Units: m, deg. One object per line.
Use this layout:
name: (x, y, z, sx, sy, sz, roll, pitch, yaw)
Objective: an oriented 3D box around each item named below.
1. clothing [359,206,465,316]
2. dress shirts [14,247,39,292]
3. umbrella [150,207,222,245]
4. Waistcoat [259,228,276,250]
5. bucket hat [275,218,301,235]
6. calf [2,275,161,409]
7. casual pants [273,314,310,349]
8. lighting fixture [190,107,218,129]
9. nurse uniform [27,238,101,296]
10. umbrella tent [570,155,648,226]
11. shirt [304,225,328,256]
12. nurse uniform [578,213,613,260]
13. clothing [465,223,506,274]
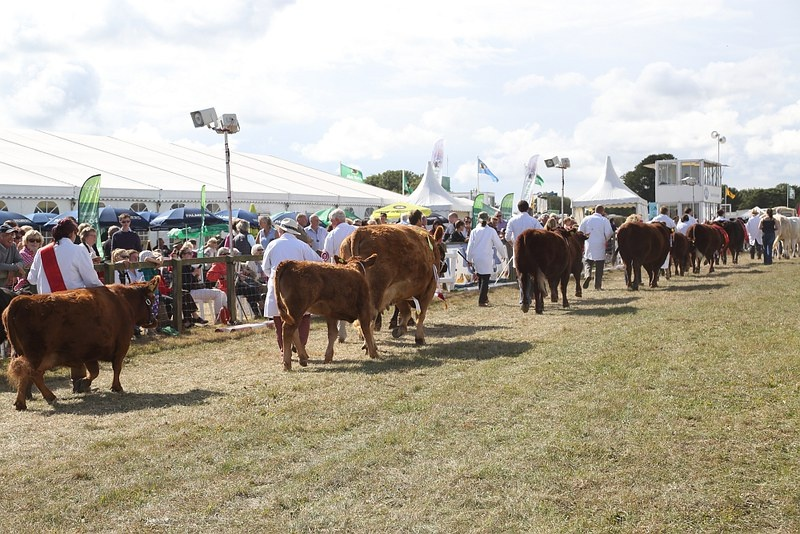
clothing: (-0.086, -0.130, 15.578, 0.787, 1.599, 2.199, 1, -1, 30)
dress shirts: (-5.972, 0.052, 14.891, 0.233, 0.753, 0.532, -3, -1, -11)
umbrella: (-5.541, -1.004, 24.477, 1.281, 0.497, 1.312, -3, -3, -4)
Waistcoat: (-2.458, -0.510, 17.602, 0.444, 0.471, 0.249, 1, 0, 5)
bucket hat: (-1.695, -0.608, 14.810, 0.281, 0.129, 0.325, 20, -4, 8)
calf: (-4.308, 1.054, 12.728, 0.515, 1.065, 1.596, -4, -2, 31)
casual pants: (-1.600, 0.917, 14.259, 0.217, 0.651, 0.919, -4, 1, 19)
lighting fixture: (-3.930, -2.979, 19.077, 0.463, 0.372, 0.882, -3, 5, -12)
nurse uniform: (-4.788, 0.021, 13.340, 0.998, 0.884, 0.518, 2, 20, -6)
umbrella tent: (9.287, -3.533, 41.815, 2.692, 2.313, 2.806, -3, 14, 22)
shirt: (-1.581, -0.464, 17.559, 0.616, 0.647, 0.331, 0, -2, -44)
nurse uniform: (4.456, -0.688, 21.719, 0.781, 1.080, 0.566, 4, 6, 20)
clothing: (1.788, -0.170, 19.809, 0.760, 1.727, 0.502, 2, 4, 10)
